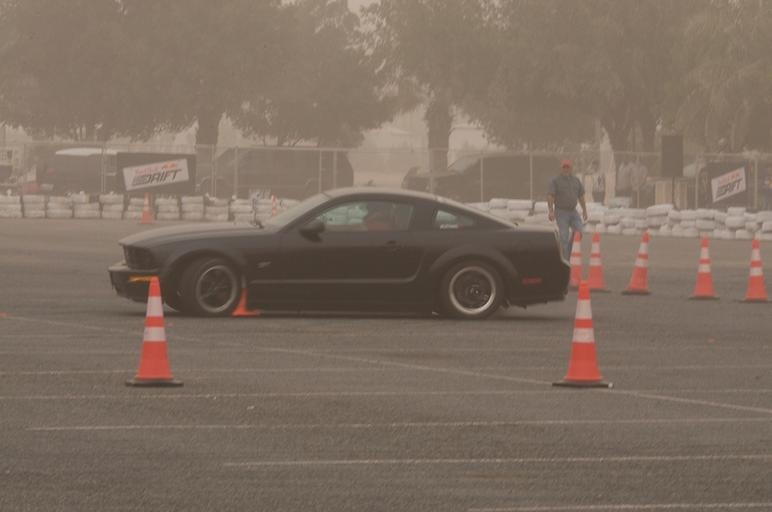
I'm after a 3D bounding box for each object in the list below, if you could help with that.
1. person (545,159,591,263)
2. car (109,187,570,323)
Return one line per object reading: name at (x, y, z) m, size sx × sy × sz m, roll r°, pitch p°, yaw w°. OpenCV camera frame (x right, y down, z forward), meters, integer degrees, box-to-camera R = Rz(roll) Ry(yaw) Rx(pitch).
person at (3.413, -0.841, 22.170) m, size 0.683 × 1.909 × 0.549 m, roll -5°, pitch 15°, yaw -1°
car at (-0.621, -0.012, 18.717) m, size 9.129 × 2.994 × 3.299 m, roll 0°, pitch -1°, yaw -3°
